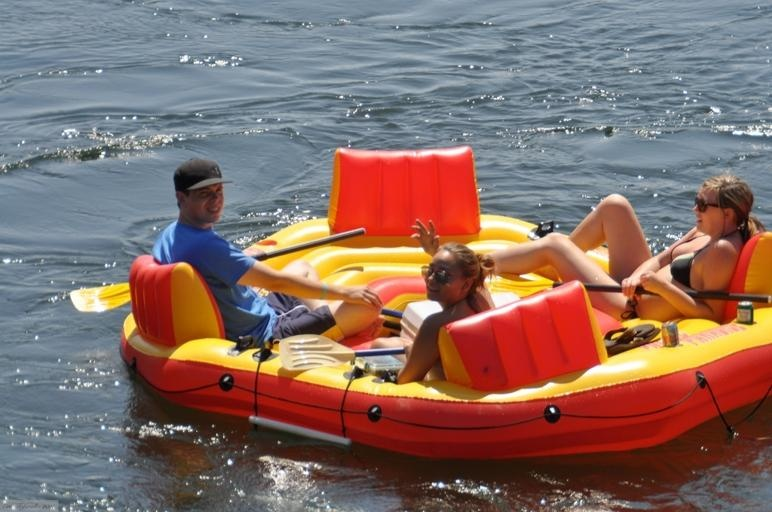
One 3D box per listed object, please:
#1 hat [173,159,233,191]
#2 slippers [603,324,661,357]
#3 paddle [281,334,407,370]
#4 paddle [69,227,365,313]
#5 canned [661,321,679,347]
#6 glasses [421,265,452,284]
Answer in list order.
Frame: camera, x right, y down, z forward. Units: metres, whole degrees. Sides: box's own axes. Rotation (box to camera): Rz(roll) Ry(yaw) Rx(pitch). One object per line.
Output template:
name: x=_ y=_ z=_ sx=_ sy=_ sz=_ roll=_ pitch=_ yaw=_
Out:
hat: x=-1.797 y=-0.798 z=11.603 sx=0.457 sy=0.201 sz=0.332 roll=-11 pitch=3 yaw=34
slippers: x=2.362 y=0.806 z=11.583 sx=0.514 sy=0.121 sz=0.320 roll=-11 pitch=27 yaw=-42
paddle: x=-0.294 y=0.946 z=11.734 sx=1.536 sy=0.353 sz=0.105 roll=2 pitch=-23 yaw=-36
paddle: x=-1.692 y=0.178 z=12.352 sx=4.042 sy=0.164 sz=0.446 roll=-9 pitch=46 yaw=-12
canned: x=2.696 y=0.741 z=11.351 sx=0.155 sy=0.231 sz=0.118 roll=-1 pitch=17 yaw=10
glasses: x=0.518 y=0.191 z=11.224 sx=0.206 sy=0.055 sz=0.198 roll=12 pitch=-8 yaw=27
